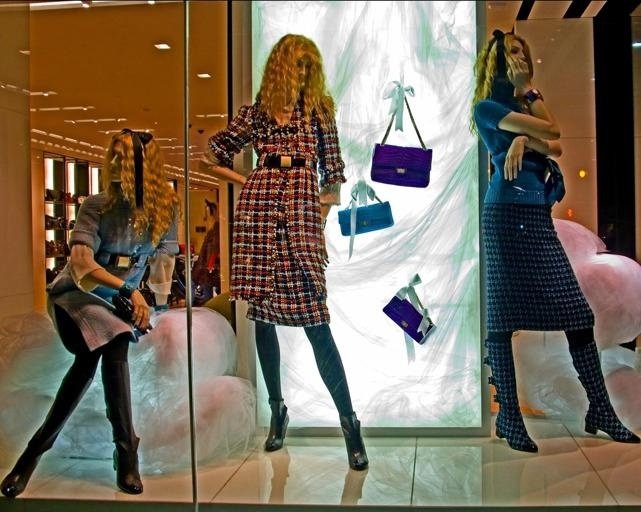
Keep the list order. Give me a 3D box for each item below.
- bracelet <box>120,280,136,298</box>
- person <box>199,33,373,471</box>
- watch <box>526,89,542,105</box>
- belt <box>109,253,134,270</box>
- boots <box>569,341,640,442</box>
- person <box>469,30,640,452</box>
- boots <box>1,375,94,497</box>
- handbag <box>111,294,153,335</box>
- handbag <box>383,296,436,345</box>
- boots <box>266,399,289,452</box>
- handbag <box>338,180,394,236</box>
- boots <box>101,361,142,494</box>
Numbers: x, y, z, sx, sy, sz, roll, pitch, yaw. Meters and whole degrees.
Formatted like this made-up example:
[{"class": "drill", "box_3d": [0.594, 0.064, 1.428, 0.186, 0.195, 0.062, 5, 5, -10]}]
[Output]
[{"class": "bracelet", "box_3d": [-0.709, 0.124, 1.958, 0.035, 0.044, 0.055, -19, 10, -14]}, {"class": "person", "box_3d": [-0.130, -0.045, 2.085, 0.579, 1.645, 0.452, -2, 9, 4]}, {"class": "watch", "box_3d": [0.816, -0.602, 2.030, 0.050, 0.041, 0.052, 2, -2, -9]}, {"class": "belt", "box_3d": [-0.742, 0.021, 1.975, 0.065, 0.067, 0.064, 8, 12, -16]}, {"class": "boots", "box_3d": [1.056, 0.509, 1.974, 0.248, 0.334, 0.105, 5, 12, 38]}, {"class": "person", "box_3d": [0.840, -0.067, 1.989, 0.554, 1.582, 0.315, 2, 10, 24]}, {"class": "boots", "box_3d": [-0.988, 0.673, 1.942, 0.095, 0.422, 0.111, 33, -2, 11]}, {"class": "handbag", "box_3d": [-0.693, 0.217, 1.951, 0.037, 0.164, 0.089, -18, 18, 48]}, {"class": "handbag", "box_3d": [0.369, 0.256, 2.176, 0.140, 0.201, 0.073, -41, 0, -7]}, {"class": "boots", "box_3d": [-0.172, 0.700, 2.194, 0.059, 0.203, 0.133, 2, -18, 21]}, {"class": "handbag", "box_3d": [0.194, -0.198, 2.219, 0.182, 0.193, 0.053, -9, -6, 0]}, {"class": "boots", "box_3d": [-0.706, 0.607, 1.893, 0.098, 0.447, 0.173, -6, 10, -24]}]
